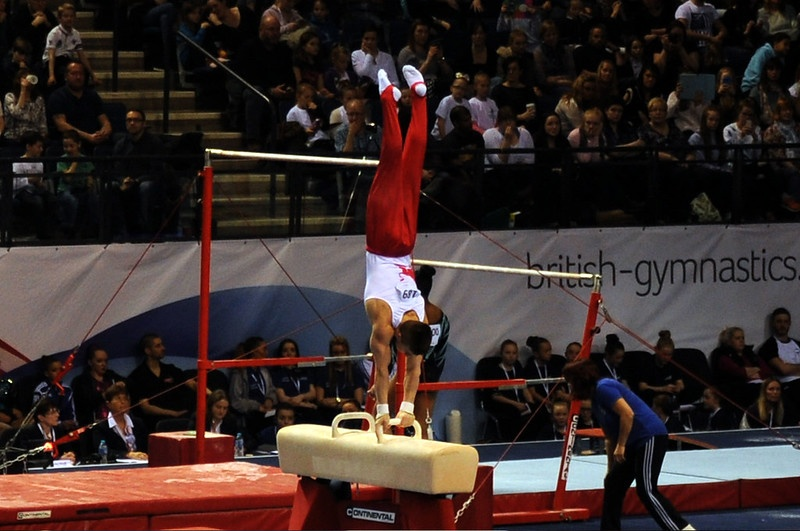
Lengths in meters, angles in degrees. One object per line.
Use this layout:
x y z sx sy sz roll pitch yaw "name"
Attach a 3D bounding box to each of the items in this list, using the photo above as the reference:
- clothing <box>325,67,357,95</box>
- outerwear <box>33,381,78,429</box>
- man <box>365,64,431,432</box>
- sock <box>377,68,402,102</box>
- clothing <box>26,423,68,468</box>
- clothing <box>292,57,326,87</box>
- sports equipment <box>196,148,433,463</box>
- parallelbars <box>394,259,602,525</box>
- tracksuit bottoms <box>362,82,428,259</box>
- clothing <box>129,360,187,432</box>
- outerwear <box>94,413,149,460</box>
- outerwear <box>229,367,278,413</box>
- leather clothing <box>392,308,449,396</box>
-0.924 -2.869 22.905 0.470 0.456 0.160 -1 -20 -20 "clothing"
-4.582 1.890 19.689 0.302 0.538 0.543 -7 -15 43 "outerwear"
-0.026 -0.227 16.639 0.757 3.998 0.569 -1 0 1 "man"
-0.112 -2.086 16.999 0.227 0.206 0.758 0 29 -4 "sock"
-4.602 2.388 19.277 0.406 0.538 0.506 30 -18 -35 "clothing"
-1.428 -2.966 22.897 0.547 0.516 0.307 4 -6 -26 "clothing"
-1.228 0.560 19.349 4.202 5.108 0.410 3 -5 -43 "sports equipment"
1.221 1.758 19.385 3.101 3.040 1.636 -3 -9 22 "parallelbars"
-0.031 -1.105 16.802 0.581 1.983 0.596 2 16 -15 "tracksuit bottoms"
-3.344 1.842 20.343 0.821 0.897 0.489 -10 -1 -35 "clothing"
-3.779 2.334 20.053 0.901 0.733 0.488 1 -9 -33 "outerwear"
-2.025 1.729 20.826 0.459 0.727 0.799 -10 -9 38 "outerwear"
0.460 1.122 19.687 0.917 1.041 0.412 5 18 -24 "leather clothing"
